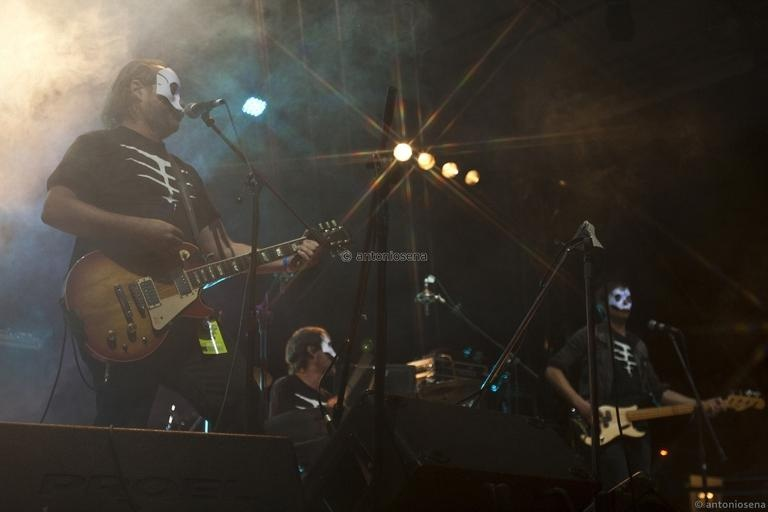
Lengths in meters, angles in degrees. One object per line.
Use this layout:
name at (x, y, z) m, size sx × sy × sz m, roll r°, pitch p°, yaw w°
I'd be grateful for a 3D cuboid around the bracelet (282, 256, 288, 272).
bracelet at (-0.999, 0.059, 8.500) m, size 0.025 × 0.101 × 0.068 m, roll 2°, pitch 7°, yaw -43°

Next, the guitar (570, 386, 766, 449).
guitar at (3.050, 1.753, 9.204) m, size 2.064 × 0.804 × 0.446 m, roll 9°, pitch -23°, yaw -9°
